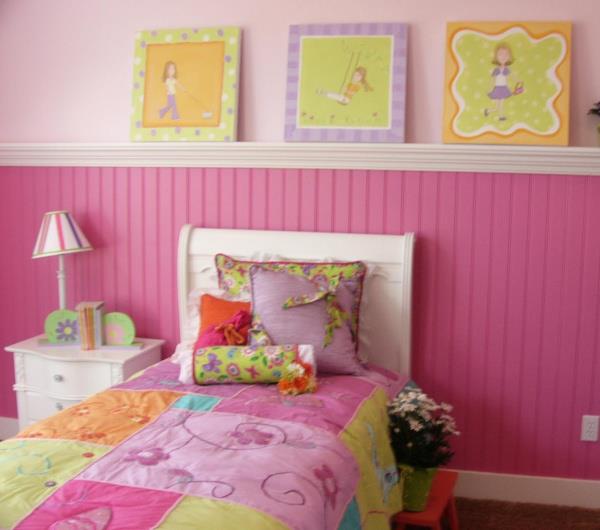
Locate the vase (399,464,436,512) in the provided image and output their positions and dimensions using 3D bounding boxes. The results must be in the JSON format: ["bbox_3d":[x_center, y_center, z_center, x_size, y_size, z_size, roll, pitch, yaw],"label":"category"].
[{"bbox_3d":[0.420,0.854,2.098,0.188,0.152,0.172,0,-3,-2],"label":"vase"}]

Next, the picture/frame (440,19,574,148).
[{"bbox_3d":[0.998,-0.856,2.499,0.744,0.630,0.045,0,-1,9],"label":"picture/frame"}]

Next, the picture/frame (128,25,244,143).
[{"bbox_3d":[-0.569,-0.937,2.766,0.737,0.606,0.057,2,2,14],"label":"picture/frame"}]

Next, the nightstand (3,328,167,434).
[{"bbox_3d":[-1.134,0.522,2.839,0.720,0.599,0.485,2,4,18],"label":"nightstand"}]

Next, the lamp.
[{"bbox_3d":[-1.119,0.081,2.871,0.653,0.684,0.538,4,7,1],"label":"lamp"}]

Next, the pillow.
[{"bbox_3d":[-0.132,0.232,2.310,0.659,0.533,0.178,3,-22,-6],"label":"pillow"}]
